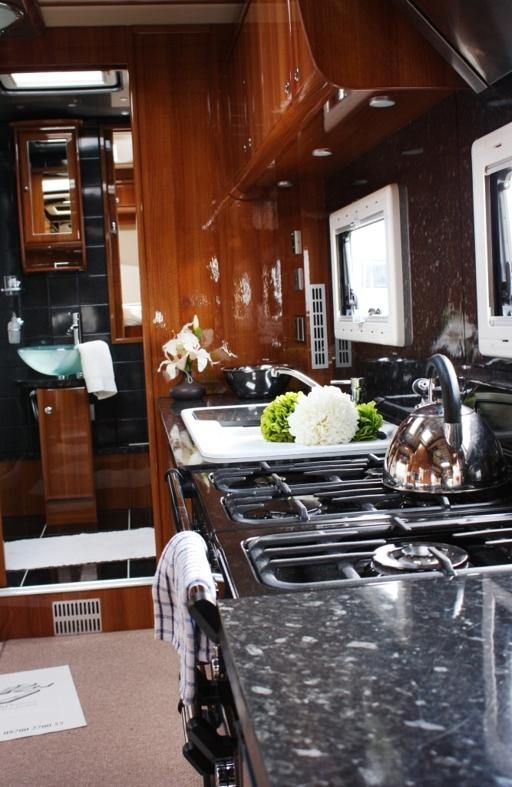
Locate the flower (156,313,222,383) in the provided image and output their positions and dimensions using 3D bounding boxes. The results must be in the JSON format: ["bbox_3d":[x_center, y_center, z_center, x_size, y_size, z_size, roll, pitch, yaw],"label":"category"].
[{"bbox_3d":[-0.330,-0.209,2.728,0.298,0.265,0.275,-2,0,1],"label":"flower"}]

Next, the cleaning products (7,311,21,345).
[{"bbox_3d":[-1.689,-0.457,4.024,0.098,0.175,0.080,-2,-1,-40],"label":"cleaning products"}]

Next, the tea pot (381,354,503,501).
[{"bbox_3d":[0.278,0.044,0.880,0.161,0.195,0.214,0,8,3],"label":"tea pot"}]

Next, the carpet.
[{"bbox_3d":[-1.004,0.879,3.229,0.850,0.041,0.649,-2,0,-13],"label":"carpet"}]

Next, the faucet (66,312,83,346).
[{"bbox_3d":[-1.292,-0.477,4.130,0.094,0.201,0.145,-2,-1,-30],"label":"faucet"}]

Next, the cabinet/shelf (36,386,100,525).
[{"bbox_3d":[-1.226,0.413,3.735,0.345,0.736,0.150,-2,0,-19],"label":"cabinet/shelf"}]

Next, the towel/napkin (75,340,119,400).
[{"bbox_3d":[-1.046,-0.165,3.785,0.264,0.379,0.134,-2,14,-4],"label":"towel/napkin"}]

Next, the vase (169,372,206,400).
[{"bbox_3d":[-0.301,-0.045,2.605,0.124,0.103,0.126,-5,7,-29],"label":"vase"}]

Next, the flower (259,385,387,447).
[{"bbox_3d":[0.159,0.053,1.408,0.298,0.134,0.183,-2,0,8],"label":"flower"}]

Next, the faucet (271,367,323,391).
[{"bbox_3d":[0.150,-0.057,2.132,0.183,0.064,0.032,23,23,28],"label":"faucet"}]

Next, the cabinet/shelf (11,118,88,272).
[{"bbox_3d":[-1.411,-1.340,3.989,0.432,0.979,0.238,-3,16,-13],"label":"cabinet/shelf"}]
